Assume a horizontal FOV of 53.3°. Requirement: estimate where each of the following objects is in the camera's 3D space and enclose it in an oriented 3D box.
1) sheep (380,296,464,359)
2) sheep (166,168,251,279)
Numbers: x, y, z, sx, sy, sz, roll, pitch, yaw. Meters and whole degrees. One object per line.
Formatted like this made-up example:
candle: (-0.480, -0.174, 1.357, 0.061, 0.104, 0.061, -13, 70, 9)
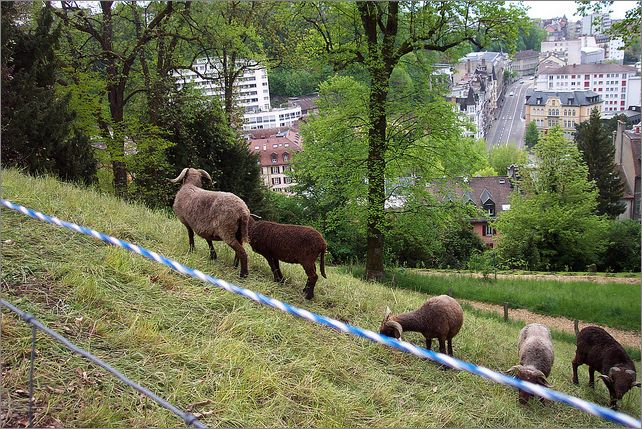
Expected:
sheep: (2.754, 3.080, 17.099, 2.811, 1.509, 0.823, -1, 0, -35)
sheep: (-3.179, 0.074, 18.187, 3.349, 2.647, 1.524, 14, 18, 43)
